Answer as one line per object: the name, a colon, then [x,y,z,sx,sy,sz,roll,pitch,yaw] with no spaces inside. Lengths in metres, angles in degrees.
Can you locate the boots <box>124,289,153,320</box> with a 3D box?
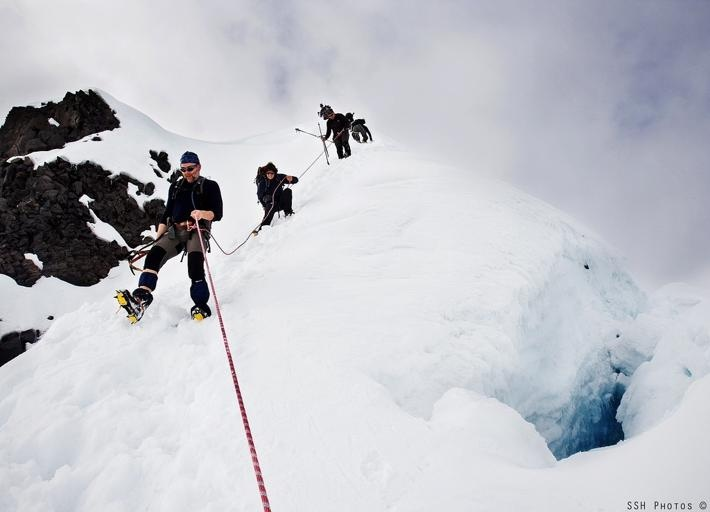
boots: [-4.000,0.865,11.319,0.282,0.828,0.397,31,54,13]

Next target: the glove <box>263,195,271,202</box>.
glove: [-2.602,-1.719,18.398,0.289,0.201,0.090,8,7,31]

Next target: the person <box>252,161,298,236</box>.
person: [-2.385,-1.800,18.470,1.308,2.138,1.141,-17,-8,2]

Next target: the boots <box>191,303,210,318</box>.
boots: [-2.848,1.034,11.425,0.221,0.302,0.302,14,1,-16]

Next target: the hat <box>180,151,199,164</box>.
hat: [-3.370,-1.980,12.407,0.375,0.263,0.276,4,10,21]
